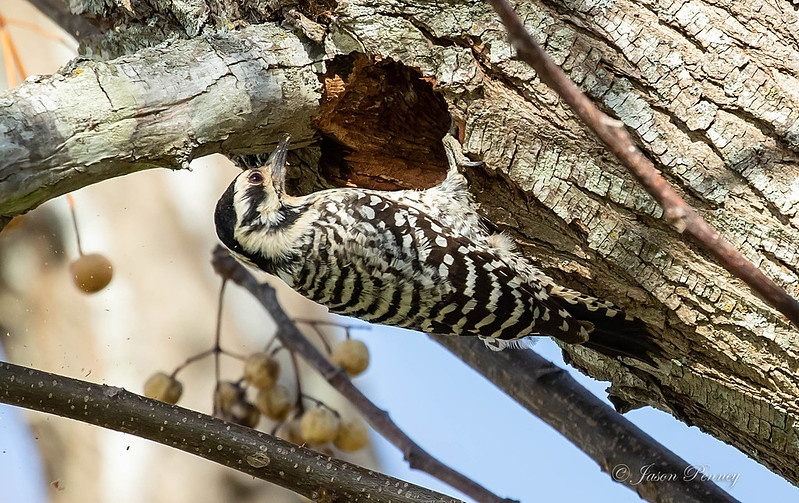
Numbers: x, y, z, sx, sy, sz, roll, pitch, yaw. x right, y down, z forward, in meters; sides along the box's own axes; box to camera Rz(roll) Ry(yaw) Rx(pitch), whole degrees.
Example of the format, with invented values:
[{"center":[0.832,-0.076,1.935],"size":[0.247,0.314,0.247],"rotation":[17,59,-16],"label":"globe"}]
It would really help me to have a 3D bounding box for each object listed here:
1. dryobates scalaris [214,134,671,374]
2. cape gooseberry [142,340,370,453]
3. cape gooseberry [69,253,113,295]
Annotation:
[{"center":[0.208,-0.018,7.594],"size":[2.383,1.172,0.457],"rotation":[2,21,16],"label":"dryobates scalaris"},{"center":[-0.860,0.992,8.171],"size":[1.358,0.682,0.967],"rotation":[6,-15,17],"label":"cape gooseberry"},{"center":[-1.931,0.128,7.832],"size":[0.249,0.232,0.199],"rotation":[-20,10,-5],"label":"cape gooseberry"}]
